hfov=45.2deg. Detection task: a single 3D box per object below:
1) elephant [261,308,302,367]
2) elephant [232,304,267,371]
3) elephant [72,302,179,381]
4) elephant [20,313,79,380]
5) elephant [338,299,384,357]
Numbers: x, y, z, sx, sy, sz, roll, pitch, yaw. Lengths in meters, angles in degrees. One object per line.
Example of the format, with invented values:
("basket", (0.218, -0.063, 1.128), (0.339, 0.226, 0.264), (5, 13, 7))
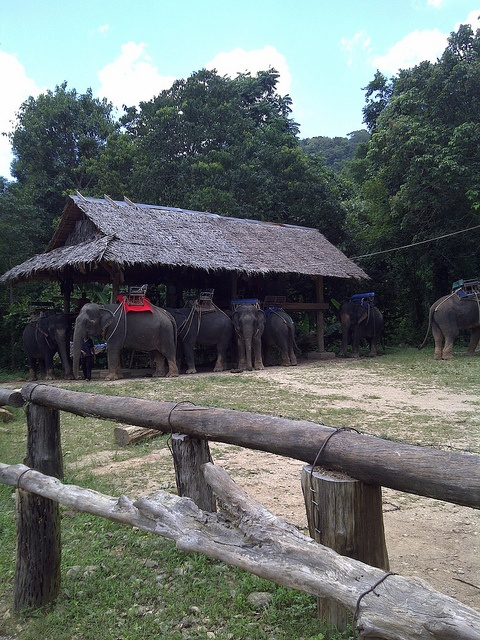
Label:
("elephant", (0.907, 0.418, 13.706), (0.805, 1.409, 1.003), (-9, 7, 4))
("elephant", (0.223, 0.377, 13.273), (0.735, 1.540, 1.915), (-2, 5, 3))
("elephant", (-2.192, 0.418, 11.280), (2.010, 1.580, 0.792), (0, 8, -17))
("elephant", (-4.089, 0.581, 12.355), (0.753, 1.343, 1.643), (-3, -6, -42))
("elephant", (3.323, 0.242, 15.909), (1.767, 1.478, 0.731), (6, -2, -36))
